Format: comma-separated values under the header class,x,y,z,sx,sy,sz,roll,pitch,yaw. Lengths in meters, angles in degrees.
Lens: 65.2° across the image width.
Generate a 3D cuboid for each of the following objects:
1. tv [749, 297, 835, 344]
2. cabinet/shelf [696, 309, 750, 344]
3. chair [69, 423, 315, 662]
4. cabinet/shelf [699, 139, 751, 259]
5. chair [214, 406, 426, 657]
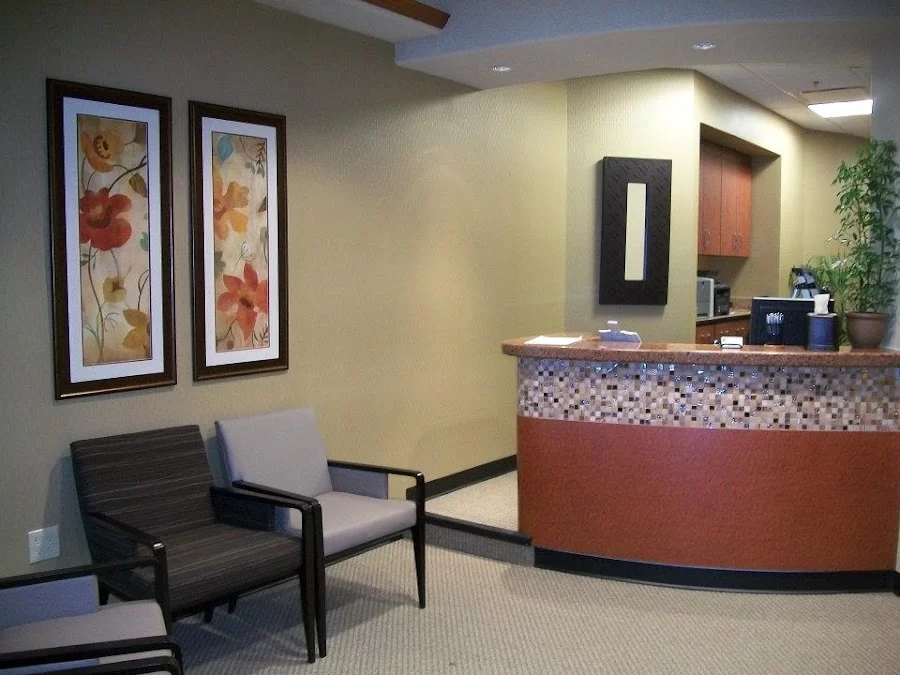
class,x,y,z,sx,sy,sz,roll,pitch,yaw
tv,2.149,-0.231,4.459,0.472,0.499,0.254,2,1,30
cabinet/shelf,2.943,-0.096,7.640,0.176,0.361,1.671,6,12,36
chair,-1.223,0.958,3.913,1.214,1.409,1.008,1,4,43
cabinet/shelf,3.142,-1.634,8.121,0.458,1.124,1.218,1,2,40
chair,-0.779,0.889,4.224,1.171,1.502,1.077,4,6,40
